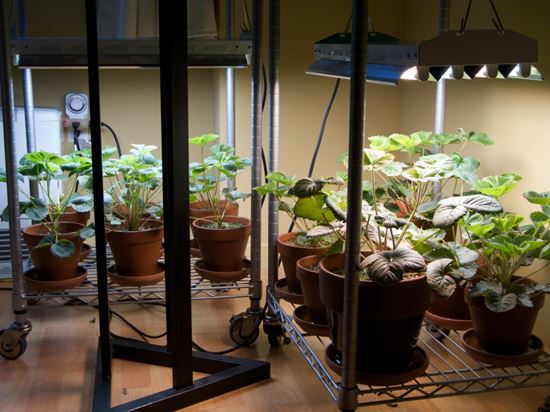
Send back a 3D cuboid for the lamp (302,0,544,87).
[{"bbox_3d":[0.485,-0.513,1.457,0.485,0.234,0.628,-5,12,-19],"label":"lamp"}]
